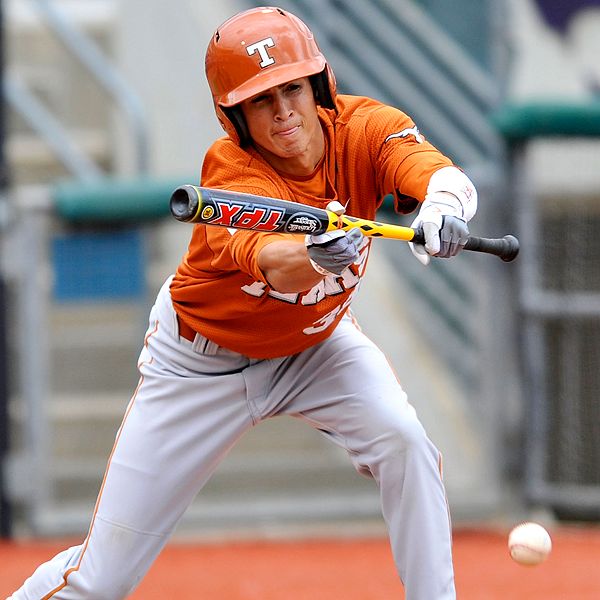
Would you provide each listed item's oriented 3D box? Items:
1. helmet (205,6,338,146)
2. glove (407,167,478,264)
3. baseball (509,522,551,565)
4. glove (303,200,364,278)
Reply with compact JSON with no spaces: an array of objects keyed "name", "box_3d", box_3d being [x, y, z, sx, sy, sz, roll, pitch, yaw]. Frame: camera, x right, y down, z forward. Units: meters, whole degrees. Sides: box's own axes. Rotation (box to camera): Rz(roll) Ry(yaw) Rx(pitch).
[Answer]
[{"name":"helmet","box_3d":[-0.081,-0.718,4.875,0.416,0.432,0.254,-4,12,-10]},{"name":"glove","box_3d":[0.448,-0.266,4.706,0.190,0.300,0.088,6,-30,-9]},{"name":"baseball","box_3d":[0.800,0.848,5.289,0.157,0.162,0.147,-3,28,20]},{"name":"glove","box_3d":[0.106,-0.137,4.476,0.163,0.134,0.096,-9,13,-31]}]
